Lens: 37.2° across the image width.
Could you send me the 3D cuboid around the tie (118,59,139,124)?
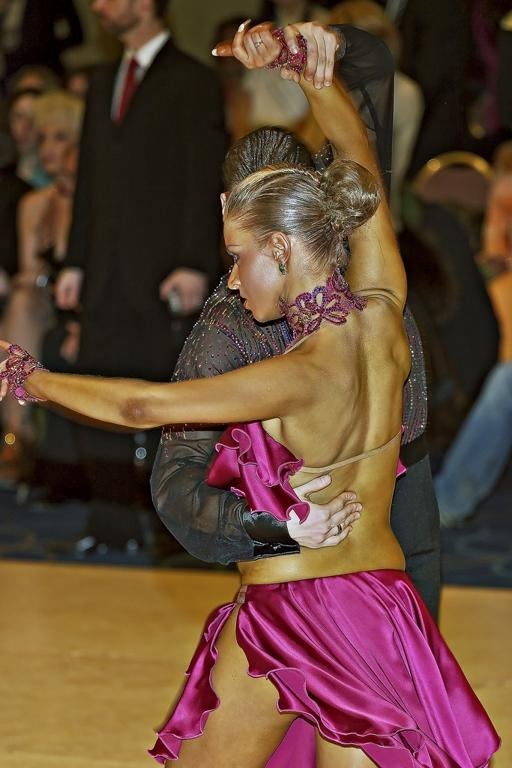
[{"bbox_3d":[-0.583,-1.347,3.454,0.069,0.302,0.043,11,55,-10],"label":"tie"}]
